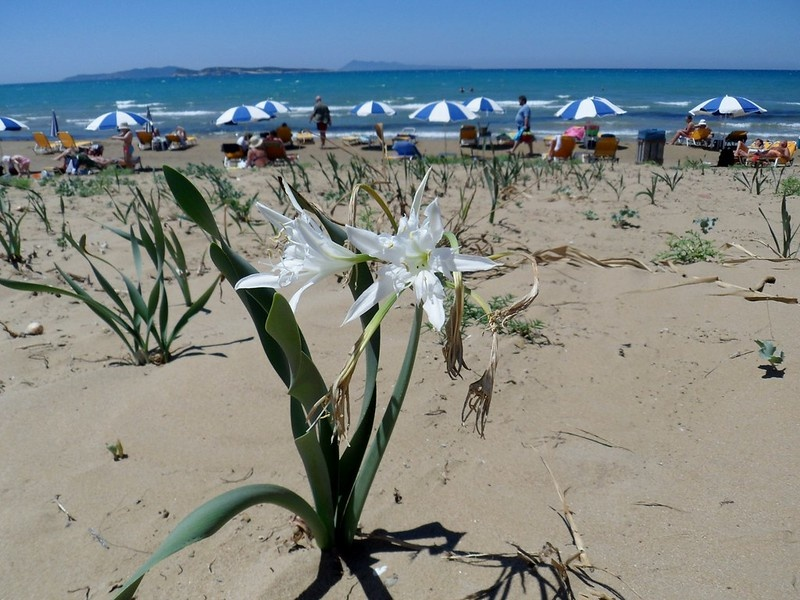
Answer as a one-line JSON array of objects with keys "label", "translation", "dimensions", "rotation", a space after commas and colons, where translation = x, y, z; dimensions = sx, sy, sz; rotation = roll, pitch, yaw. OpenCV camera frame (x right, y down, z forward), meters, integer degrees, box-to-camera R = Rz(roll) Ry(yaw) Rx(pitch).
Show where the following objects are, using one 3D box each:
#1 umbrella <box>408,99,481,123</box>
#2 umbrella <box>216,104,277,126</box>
[{"label": "umbrella", "translation": [0.937, -4.048, 14.647], "dimensions": [1.391, 0.534, 1.521], "rotation": [-2, 30, 1]}, {"label": "umbrella", "translation": [-4.071, -4.797, 17.651], "dimensions": [1.505, 0.638, 1.617], "rotation": [-7, 16, -4]}]
